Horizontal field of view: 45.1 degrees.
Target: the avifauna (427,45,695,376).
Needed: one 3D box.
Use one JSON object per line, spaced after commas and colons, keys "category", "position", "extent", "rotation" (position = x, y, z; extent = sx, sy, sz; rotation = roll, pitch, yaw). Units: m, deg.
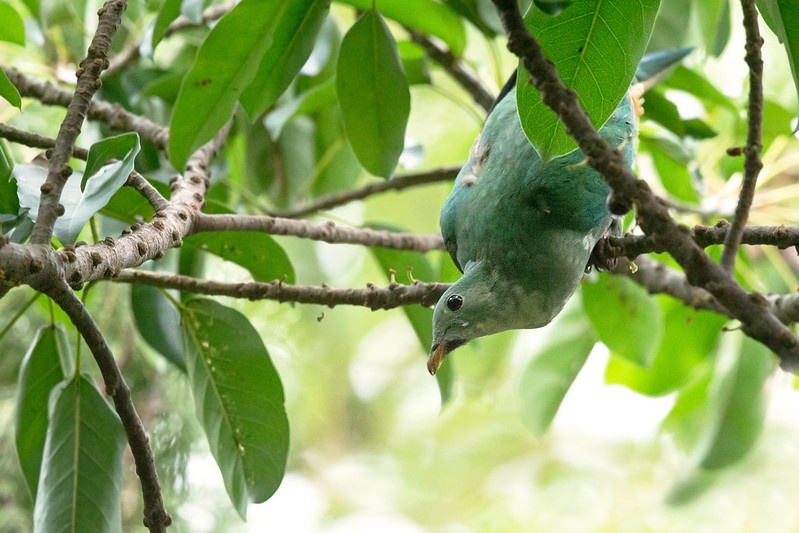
{"category": "avifauna", "position": [0.241, -0.065, 2.288], "extent": [0.437, 0.334, 0.938], "rotation": [9, -72, -41]}
